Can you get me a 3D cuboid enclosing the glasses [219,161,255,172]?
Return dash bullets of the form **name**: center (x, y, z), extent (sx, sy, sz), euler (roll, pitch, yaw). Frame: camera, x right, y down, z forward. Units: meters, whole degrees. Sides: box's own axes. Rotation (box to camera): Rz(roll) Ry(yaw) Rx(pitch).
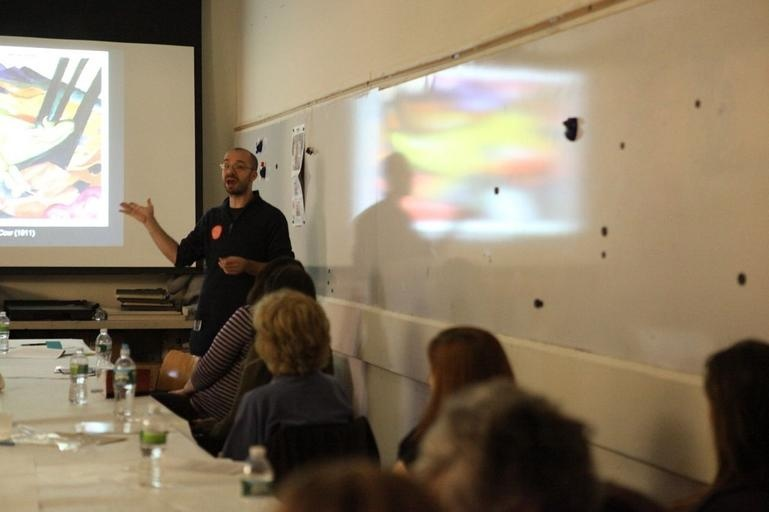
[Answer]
- **glasses**: center (-0.903, -0.557, 3.758), extent (0.206, 0.065, 0.151), euler (-5, 7, -11)
